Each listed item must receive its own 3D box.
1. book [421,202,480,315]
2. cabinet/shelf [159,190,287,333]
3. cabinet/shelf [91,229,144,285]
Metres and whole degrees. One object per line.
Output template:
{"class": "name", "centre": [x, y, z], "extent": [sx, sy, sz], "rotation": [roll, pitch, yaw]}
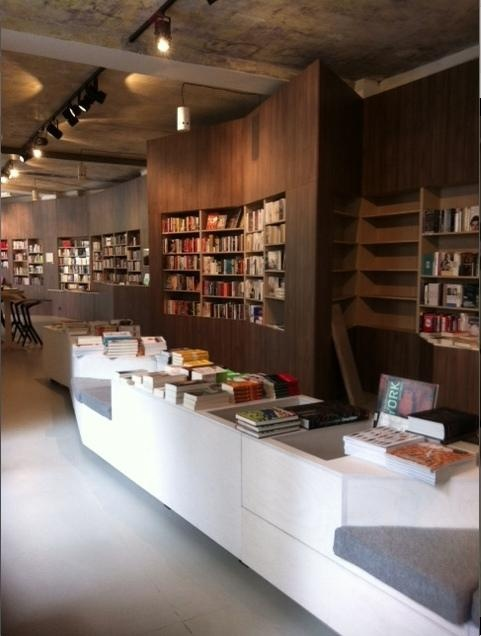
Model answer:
{"class": "book", "centre": [2.377, -0.656, 5.247], "extent": [0.460, 1.175, 0.711], "rotation": [-12, 8, -31]}
{"class": "cabinet/shelf", "centre": [-0.236, -0.932, 7.486], "extent": [2.349, 1.515, 0.723], "rotation": [3, 3, 39]}
{"class": "cabinet/shelf", "centre": [-3.477, -1.717, 13.375], "extent": [0.703, 1.547, 3.490], "rotation": [-12, 8, -29]}
